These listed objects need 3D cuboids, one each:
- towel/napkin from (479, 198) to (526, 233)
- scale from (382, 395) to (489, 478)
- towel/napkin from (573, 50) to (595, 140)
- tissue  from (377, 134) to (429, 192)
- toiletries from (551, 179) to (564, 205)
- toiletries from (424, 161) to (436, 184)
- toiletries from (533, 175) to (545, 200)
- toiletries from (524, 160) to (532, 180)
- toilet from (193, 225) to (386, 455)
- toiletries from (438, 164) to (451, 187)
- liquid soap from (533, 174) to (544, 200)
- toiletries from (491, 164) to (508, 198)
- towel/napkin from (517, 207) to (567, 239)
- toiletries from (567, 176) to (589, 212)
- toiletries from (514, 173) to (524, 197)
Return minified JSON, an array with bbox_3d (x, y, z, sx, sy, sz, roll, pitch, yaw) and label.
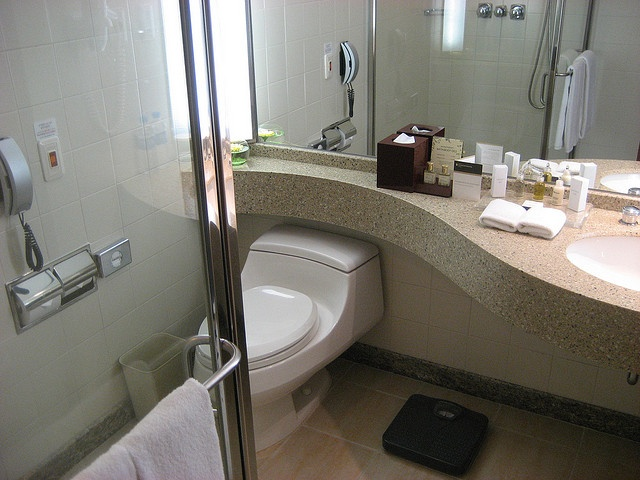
[{"bbox_3d":[0.615,-0.101,1.679,0.115,0.044,0.123,14,44,25],"label":"towel/napkin"},{"bbox_3d":[0.492,0.821,2.116,0.361,0.072,0.368,16,30,30],"label":"scale"},{"bbox_3d":[0.937,-0.531,1.769,0.040,0.305,0.163,6,33,36],"label":"towel/napkin"},{"bbox_3d":[0.328,-0.322,2.066,0.203,0.219,0.215,7,29,16],"label":"tissue "},{"bbox_3d":[0.874,-0.179,1.828,0.040,0.084,0.076,11,27,24],"label":"toiletries"},{"bbox_3d":[0.434,-0.264,1.964,0.048,0.080,0.047,-2,24,-5],"label":"toiletries"},{"bbox_3d":[0.822,-0.196,1.872,0.039,0.109,0.042,7,35,19],"label":"toiletries"},{"bbox_3d":[0.812,-0.276,1.948,0.034,0.075,0.016,11,26,23],"label":"toiletries"},{"bbox_3d":[-0.190,0.395,2.222,0.606,0.701,0.950,12,21,29],"label":"toilet"},{"bbox_3d":[0.490,-0.256,1.952,0.052,0.075,0.066,9,26,19],"label":"toiletries"},{"bbox_3d":[0.822,-0.200,1.876,0.040,0.114,0.043,6,37,16],"label":"liquid soap"},{"bbox_3d":[0.690,-0.238,1.916,0.062,0.122,0.116,9,26,20],"label":"toiletries"},{"bbox_3d":[0.750,-0.065,1.676,0.118,0.054,0.191,19,31,34],"label":"towel/napkin"},{"bbox_3d":[0.926,-0.200,1.790,0.046,0.142,0.061,22,-22,-31],"label":"toiletries"},{"bbox_3d":[0.759,-0.211,1.898,0.032,0.082,0.032,5,25,12],"label":"toiletries"}]
